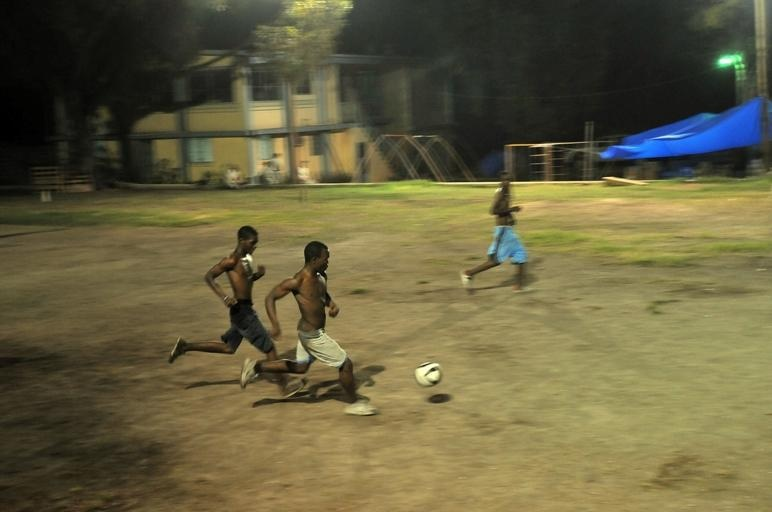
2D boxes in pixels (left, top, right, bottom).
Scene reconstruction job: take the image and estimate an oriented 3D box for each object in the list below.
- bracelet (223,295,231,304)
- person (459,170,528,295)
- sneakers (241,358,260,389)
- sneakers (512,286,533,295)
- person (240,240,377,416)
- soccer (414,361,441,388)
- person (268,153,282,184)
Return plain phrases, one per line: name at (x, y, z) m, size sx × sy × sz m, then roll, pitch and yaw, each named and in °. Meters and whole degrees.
bracelet at (-1.896, 0.523, 10.289) m, size 0.077 × 0.084 × 0.084 m, roll 22°, pitch 27°, yaw -22°
person at (1.876, -0.439, 14.538) m, size 1.005 × 1.954 × 1.243 m, roll -1°, pitch 6°, yaw 8°
sneakers at (-1.642, 1.396, 10.178) m, size 0.244 × 0.395 × 0.202 m, roll 17°, pitch -12°, yaw -9°
sneakers at (2.303, 0.568, 14.223) m, size 0.375 × 0.090 × 0.213 m, roll -10°, pitch -14°, yaw 14°
person at (-0.903, 0.848, 10.022) m, size 1.500 × 2.039 × 0.384 m, roll -2°, pitch 6°, yaw -2°
soccer at (0.521, 1.421, 10.357) m, size 0.364 × 0.184 × 0.314 m, roll 8°, pitch 19°, yaw 21°
person at (-5.267, -4.271, 41.195) m, size 0.592 × 1.497 × 1.575 m, roll -3°, pitch 5°, yaw -7°
